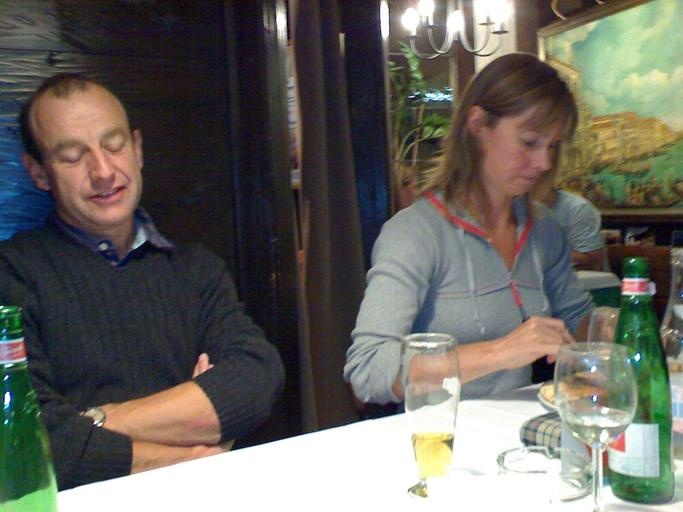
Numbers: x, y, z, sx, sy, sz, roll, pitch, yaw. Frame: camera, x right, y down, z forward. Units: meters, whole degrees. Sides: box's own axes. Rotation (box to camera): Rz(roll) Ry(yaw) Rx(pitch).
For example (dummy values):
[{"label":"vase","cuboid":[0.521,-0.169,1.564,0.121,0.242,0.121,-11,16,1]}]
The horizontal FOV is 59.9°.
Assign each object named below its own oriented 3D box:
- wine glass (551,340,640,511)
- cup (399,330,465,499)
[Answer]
[{"label":"wine glass","cuboid":[0.407,0.219,0.953,0.116,0.146,0.108,5,15,41]},{"label":"cup","cuboid":[0.159,0.263,1.017,0.095,0.233,0.097,-6,12,1]}]
